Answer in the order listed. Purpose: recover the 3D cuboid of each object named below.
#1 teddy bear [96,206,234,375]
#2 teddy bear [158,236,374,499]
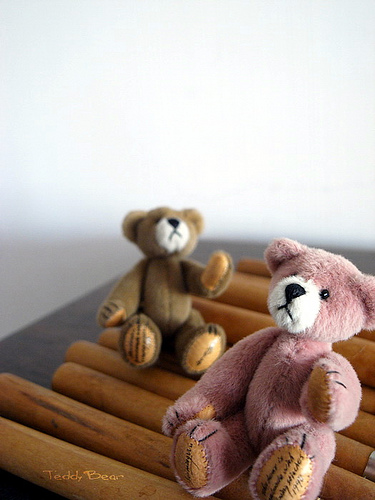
[{"bbox_3d":[-0.041,0.095,1.369,0.369,0.370,0.282,7,17,14],"label":"teddy bear"},{"bbox_3d":[0.160,0.236,0.925,0.283,0.448,0.354,24,30,38],"label":"teddy bear"}]
